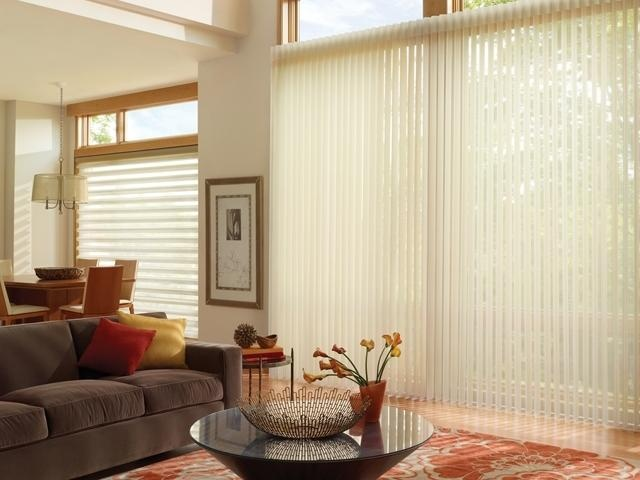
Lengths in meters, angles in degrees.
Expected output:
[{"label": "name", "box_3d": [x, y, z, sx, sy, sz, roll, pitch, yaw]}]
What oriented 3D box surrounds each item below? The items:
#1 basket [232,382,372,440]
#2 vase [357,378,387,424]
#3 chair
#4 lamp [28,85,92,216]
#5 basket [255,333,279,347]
[{"label": "basket", "box_3d": [-0.098, 0.932, 2.774, 0.429, 0.099, 0.409, -1, 0, -36]}, {"label": "vase", "box_3d": [0.289, 0.944, 3.066, 0.209, 0.226, 0.217, -4, -2, -4]}, {"label": "chair", "box_3d": [-3.149, 0.630, 6.221, 0.990, 0.576, 0.980, -2, -2, 35]}, {"label": "lamp", "box_3d": [-3.850, -1.300, 7.734, 0.720, 1.965, 2.896, -2, 8, -28]}, {"label": "basket", "box_3d": [-0.426, 0.832, 4.324, 0.131, 0.096, 0.148, -1, 0, 30]}]
